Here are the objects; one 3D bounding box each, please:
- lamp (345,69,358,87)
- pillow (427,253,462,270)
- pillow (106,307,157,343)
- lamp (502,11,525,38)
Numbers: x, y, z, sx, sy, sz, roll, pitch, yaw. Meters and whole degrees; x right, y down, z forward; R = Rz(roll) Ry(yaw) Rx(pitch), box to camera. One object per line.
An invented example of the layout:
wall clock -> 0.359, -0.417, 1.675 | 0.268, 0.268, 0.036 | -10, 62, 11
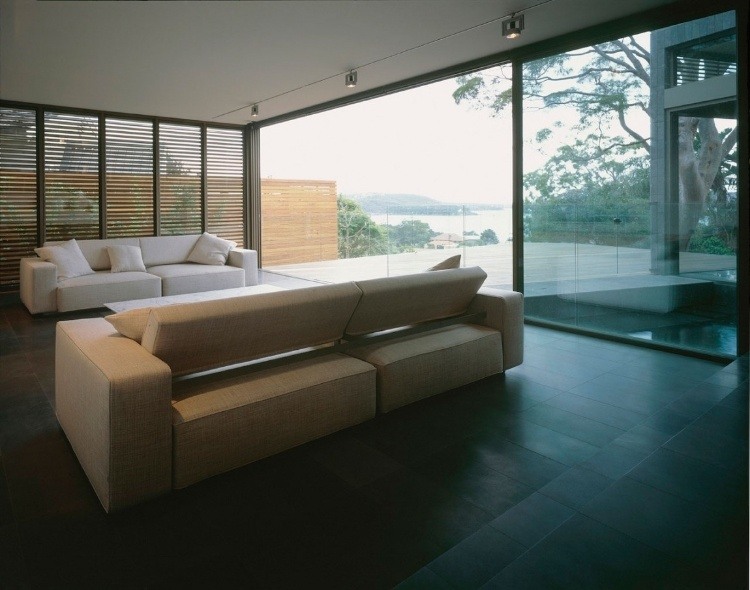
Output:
lamp -> -0.273, -2.480, 6.055 | 0.097, 0.180, 0.178 | 0, 2, -40
pillow -> 0.535, -0.243, 4.026 | 0.179, 0.176, 0.141 | 7, 9, 43
pillow -> -1.314, 0.167, 2.919 | 0.177, 0.154, 0.421 | -14, 20, -43
lamp -> 1.183, -2.329, 4.561 | 0.176, 0.182, 0.091 | 8, 8, 43
